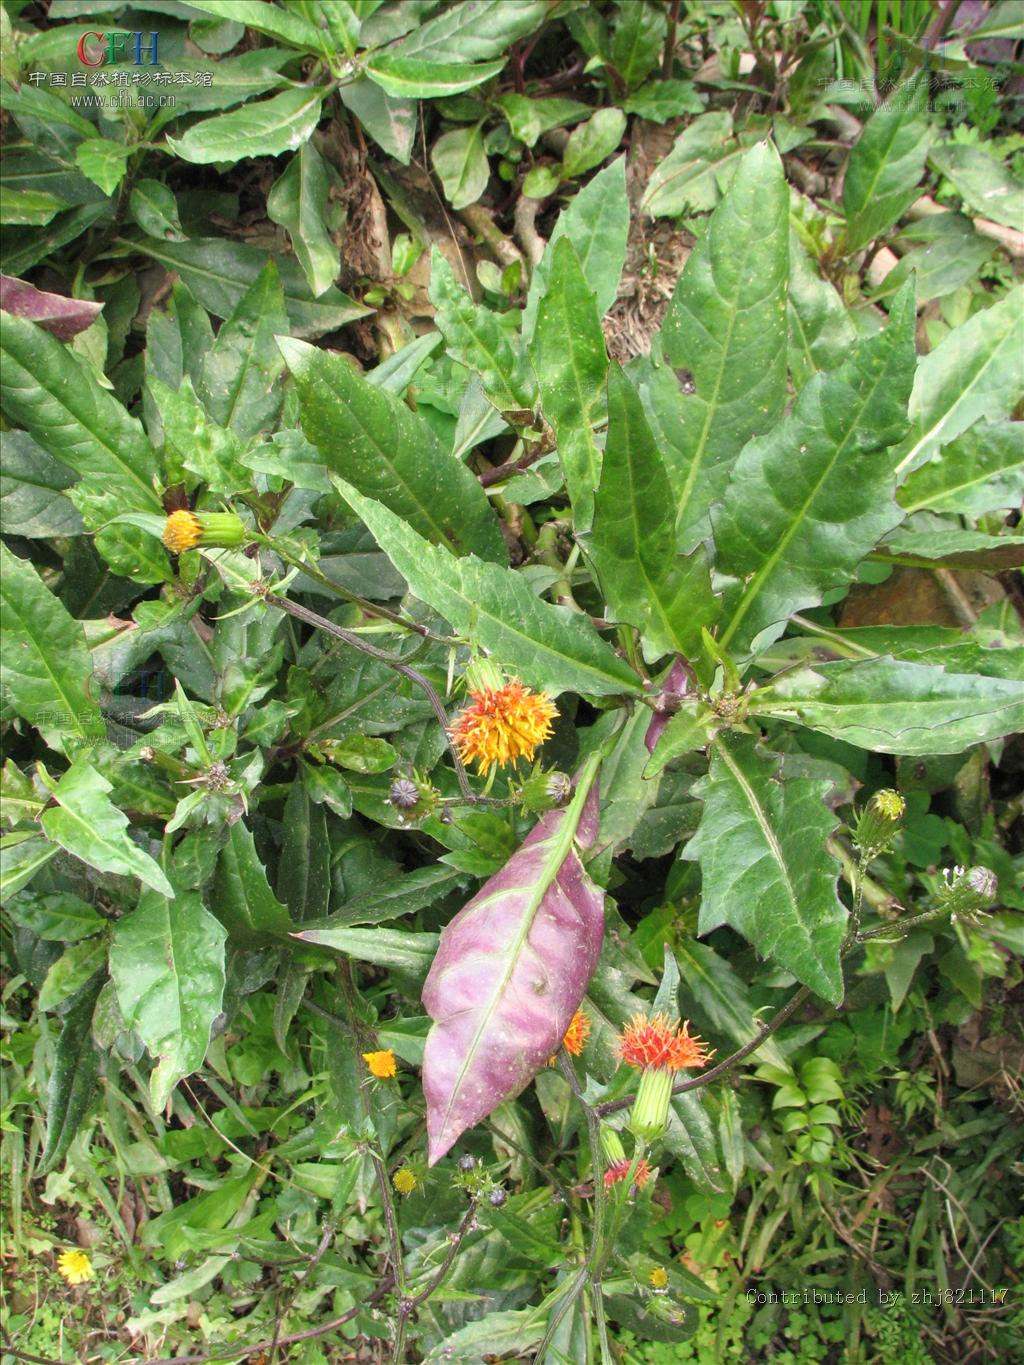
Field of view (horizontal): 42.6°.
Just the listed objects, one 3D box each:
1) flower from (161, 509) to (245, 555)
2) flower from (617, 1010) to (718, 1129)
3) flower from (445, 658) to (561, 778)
[{"bbox_3d":[-0.302,-0.148,1.290,0.073,0.035,0.040,2,76,-31],"label":"flower"},{"bbox_3d":[0.146,0.396,1.327,0.103,0.092,0.127,-1,69,25],"label":"flower"},{"bbox_3d":[-0.013,0.048,1.367,0.094,0.200,0.109,21,82,5],"label":"flower"}]
